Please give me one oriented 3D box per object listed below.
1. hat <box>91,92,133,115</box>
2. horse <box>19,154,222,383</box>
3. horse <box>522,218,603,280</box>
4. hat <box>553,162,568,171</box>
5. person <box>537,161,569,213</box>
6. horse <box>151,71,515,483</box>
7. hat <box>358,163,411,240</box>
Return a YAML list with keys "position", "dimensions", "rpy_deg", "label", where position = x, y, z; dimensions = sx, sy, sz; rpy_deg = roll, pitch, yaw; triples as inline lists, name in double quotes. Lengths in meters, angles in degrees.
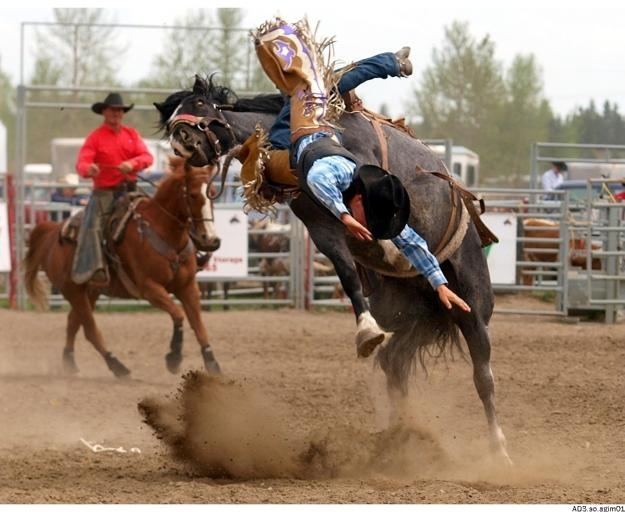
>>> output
- position: [-1.997, -1.572, 10.522]
  dimensions: [0.374, 0.256, 0.757]
  rpy_deg: [-1, 4, -4]
  label: "hat"
- position: [-1.973, 0.205, 10.825]
  dimensions: [0.906, 2.072, 3.367]
  rpy_deg: [2, -6, -44]
  label: "horse"
- position: [3.073, -0.043, 13.278]
  dimensions: [0.826, 0.909, 1.539]
  rpy_deg: [-1, 4, -7]
  label: "horse"
- position: [3.218, -1.182, 13.568]
  dimensions: [0.161, 0.119, 0.347]
  rpy_deg: [1, 4, 13]
  label: "hat"
- position: [3.141, -0.919, 13.592]
  dimensions: [0.319, 0.657, 1.141]
  rpy_deg: [1, 4, 13]
  label: "person"
- position: [0.403, 0.117, 8.404]
  dimensions: [0.958, 2.340, 4.035]
  rpy_deg: [-30, -39, 34]
  label: "horse"
- position: [0.534, -0.400, 7.622]
  dimensions: [0.215, 0.515, 0.428]
  rpy_deg: [-8, 9, 45]
  label: "hat"
